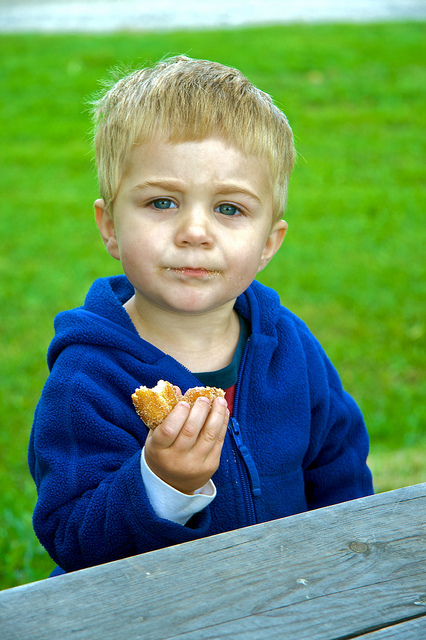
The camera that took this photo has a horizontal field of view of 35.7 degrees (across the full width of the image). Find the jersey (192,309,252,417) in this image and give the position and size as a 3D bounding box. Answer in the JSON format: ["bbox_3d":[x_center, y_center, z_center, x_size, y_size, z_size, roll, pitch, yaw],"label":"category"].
[{"bbox_3d":[0.019,0.114,1.649,0.178,0.191,0.073,2,2,-19],"label":"jersey"}]

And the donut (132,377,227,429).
[{"bbox_3d":[-0.071,0.162,1.278,0.157,0.092,0.082,-7,13,-36],"label":"donut"}]
